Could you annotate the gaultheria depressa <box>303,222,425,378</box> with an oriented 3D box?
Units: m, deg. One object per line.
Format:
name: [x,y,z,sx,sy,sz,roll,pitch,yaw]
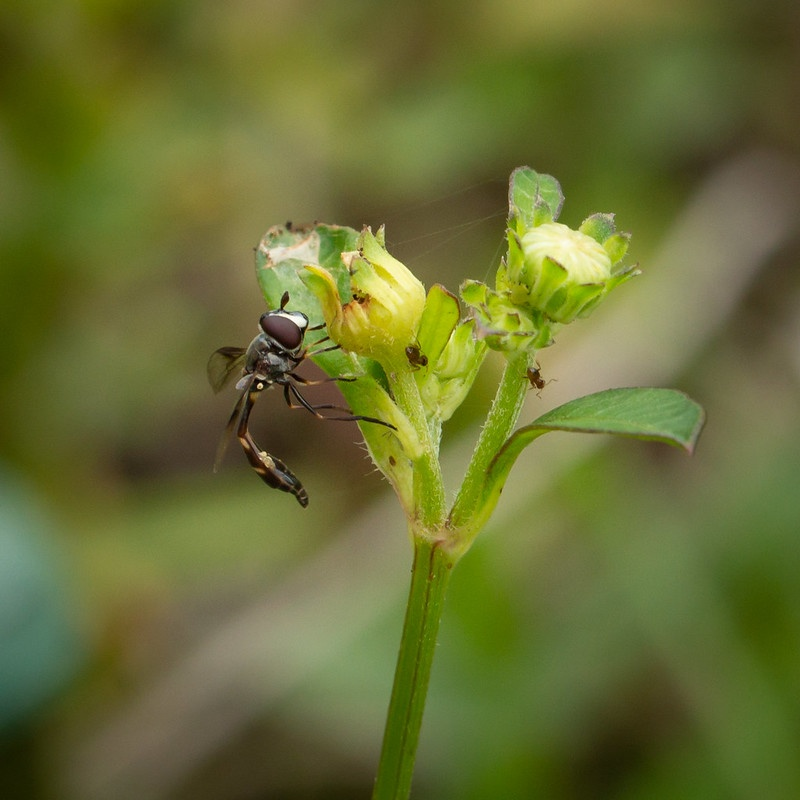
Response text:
gaultheria depressa: [-0.078,-0.250,2.449,0.303,0.326,0.219,-20,50,-5]

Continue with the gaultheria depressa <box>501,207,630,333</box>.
gaultheria depressa: [0.445,-0.352,2.375,0.341,0.258,0.294,-10,51,4]
